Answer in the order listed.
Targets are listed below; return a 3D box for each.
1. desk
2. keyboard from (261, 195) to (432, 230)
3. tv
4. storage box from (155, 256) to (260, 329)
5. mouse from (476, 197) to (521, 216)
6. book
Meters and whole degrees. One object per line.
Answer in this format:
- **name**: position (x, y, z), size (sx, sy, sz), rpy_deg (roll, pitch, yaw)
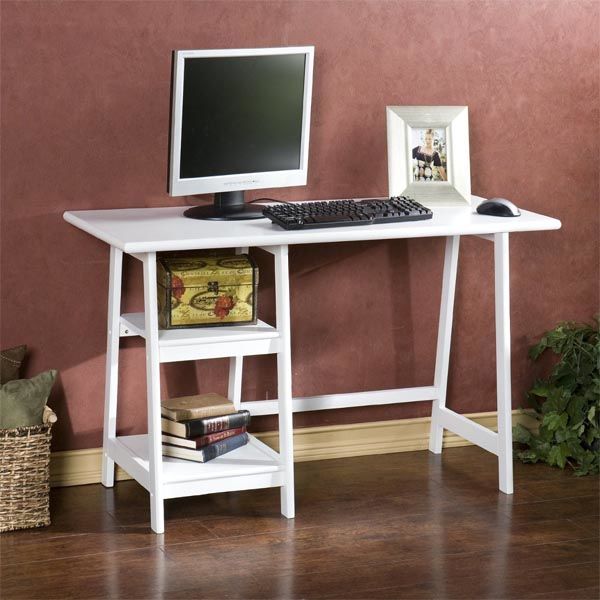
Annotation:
- **desk**: position (0.063, 0.170, 1.924), size (1.257, 0.686, 0.494), rpy_deg (-2, 5, -21)
- **keyboard**: position (0.120, -0.228, 1.769), size (0.444, 0.098, 0.271), rpy_deg (-2, 5, -19)
- **tv**: position (-0.168, -0.462, 1.820), size (0.525, 0.524, 0.207), rpy_deg (-8, 25, -28)
- **storage box**: position (-0.207, -0.005, 1.779), size (0.253, 0.149, 0.168), rpy_deg (-2, -7, 14)
- **mouse**: position (0.557, -0.264, 1.883), size (0.059, 0.030, 0.097), rpy_deg (-6, 13, -43)
- **book**: position (-0.267, 0.333, 1.796), size (0.161, 0.089, 0.206), rpy_deg (7, 8, 29)
